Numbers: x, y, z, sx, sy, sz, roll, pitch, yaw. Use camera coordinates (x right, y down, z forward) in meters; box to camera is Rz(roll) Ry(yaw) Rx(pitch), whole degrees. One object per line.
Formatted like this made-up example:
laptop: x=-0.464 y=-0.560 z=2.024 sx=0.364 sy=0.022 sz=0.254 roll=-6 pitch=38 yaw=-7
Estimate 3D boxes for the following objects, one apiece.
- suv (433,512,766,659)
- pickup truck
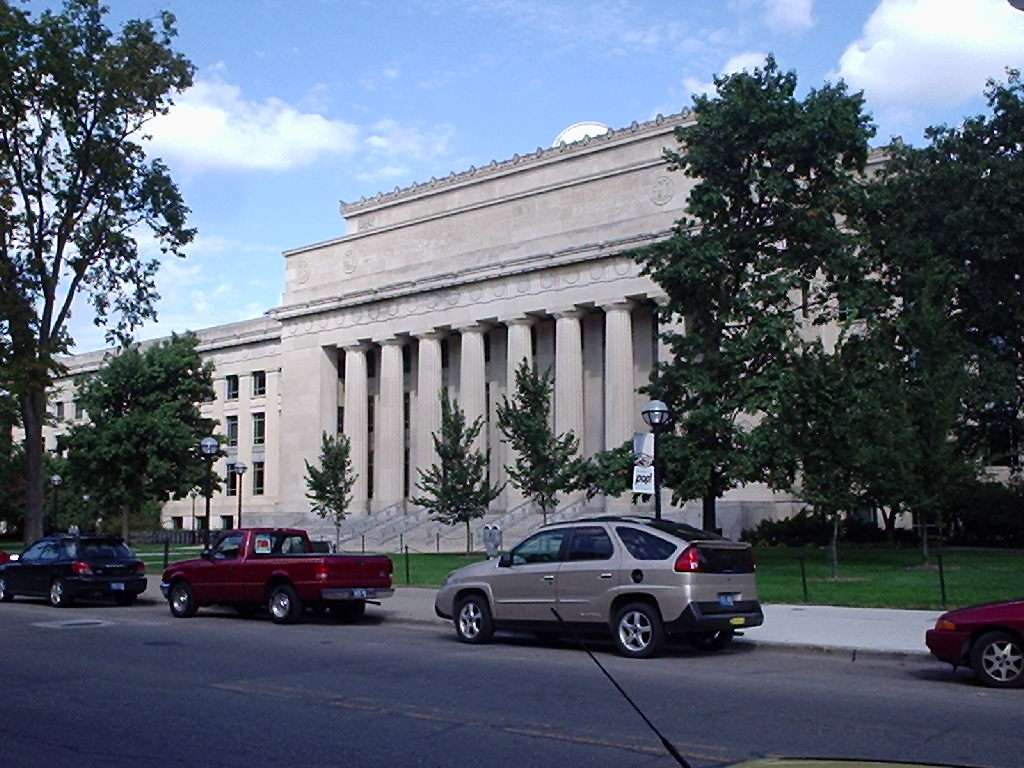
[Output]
suv: x=1.631 y=3.812 z=21.962 sx=5.476 sy=2.099 sz=2.735 roll=-2 pitch=-8 yaw=36
pickup truck: x=-5.405 y=4.487 z=26.746 sx=4.872 sy=1.775 sz=2.394 roll=-3 pitch=-9 yaw=36
